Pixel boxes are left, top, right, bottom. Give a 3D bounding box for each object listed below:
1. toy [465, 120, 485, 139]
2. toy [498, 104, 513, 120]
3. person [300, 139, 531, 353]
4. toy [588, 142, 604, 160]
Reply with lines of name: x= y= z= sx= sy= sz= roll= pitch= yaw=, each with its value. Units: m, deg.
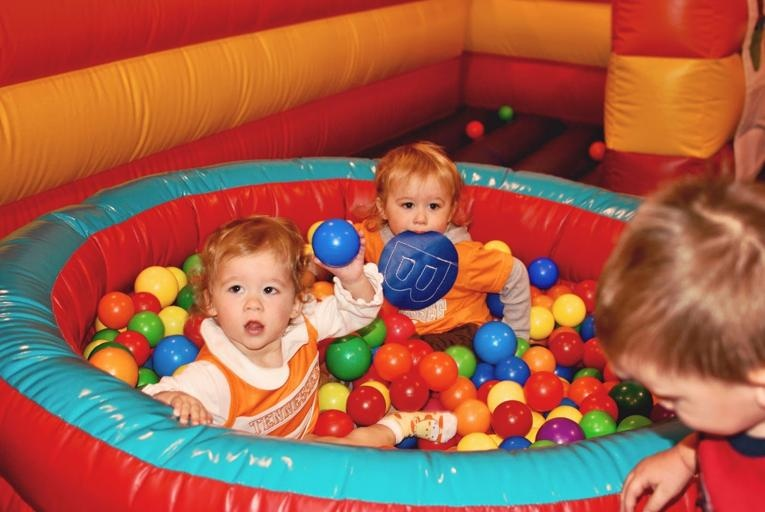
toy: x=0.719 y=-0.977 z=4.839 sx=0.099 sy=0.102 sz=0.116 roll=-33 pitch=23 yaw=17
toy: x=1.004 y=-1.158 z=5.043 sx=0.091 sy=0.097 sz=0.109 roll=17 pitch=32 yaw=-8
person: x=0.100 y=0.046 z=2.767 sx=1.173 sy=1.020 sz=0.689 roll=0 pitch=34 yaw=6
toy: x=1.563 y=-0.770 z=4.541 sx=0.106 sy=0.113 sz=0.229 roll=-2 pitch=24 yaw=14
